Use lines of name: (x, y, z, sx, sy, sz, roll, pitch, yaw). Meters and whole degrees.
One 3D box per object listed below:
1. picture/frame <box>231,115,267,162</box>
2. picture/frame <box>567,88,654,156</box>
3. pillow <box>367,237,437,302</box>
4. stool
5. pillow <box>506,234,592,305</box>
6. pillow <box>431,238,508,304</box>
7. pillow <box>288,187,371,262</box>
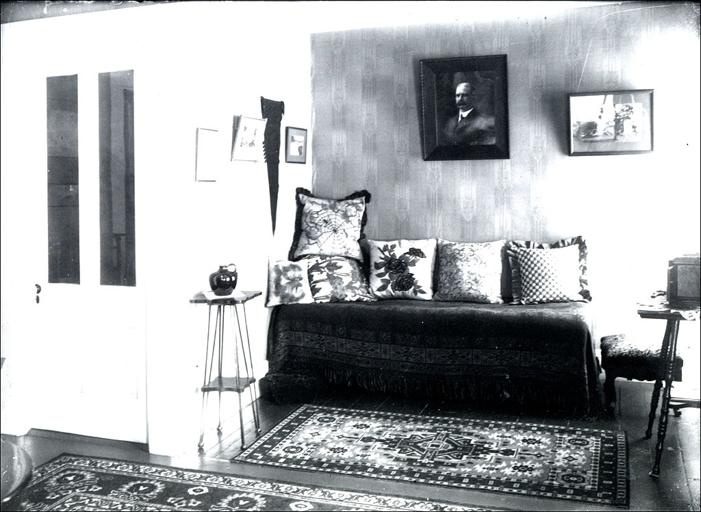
picture/frame: (-0.774, -0.880, 4.803, 0.080, 0.323, 0.339, 13, 14, 33)
picture/frame: (2.201, -1.123, 5.346, 0.622, 0.486, 0.041, 0, 1, 17)
pillow: (0.462, 0.137, 5.614, 0.531, 0.468, 0.189, -1, -18, 10)
stool: (2.206, 0.935, 4.897, 0.480, 0.313, 0.671, 1, -10, 18)
pillow: (1.681, 0.131, 5.411, 0.765, 0.655, 0.191, 15, 1, -3)
pillow: (1.019, 0.130, 5.536, 0.611, 0.559, 0.226, 2, -2, 26)
pillow: (-0.210, -0.315, 5.823, 0.784, 0.774, 0.222, 2, 39, -20)
